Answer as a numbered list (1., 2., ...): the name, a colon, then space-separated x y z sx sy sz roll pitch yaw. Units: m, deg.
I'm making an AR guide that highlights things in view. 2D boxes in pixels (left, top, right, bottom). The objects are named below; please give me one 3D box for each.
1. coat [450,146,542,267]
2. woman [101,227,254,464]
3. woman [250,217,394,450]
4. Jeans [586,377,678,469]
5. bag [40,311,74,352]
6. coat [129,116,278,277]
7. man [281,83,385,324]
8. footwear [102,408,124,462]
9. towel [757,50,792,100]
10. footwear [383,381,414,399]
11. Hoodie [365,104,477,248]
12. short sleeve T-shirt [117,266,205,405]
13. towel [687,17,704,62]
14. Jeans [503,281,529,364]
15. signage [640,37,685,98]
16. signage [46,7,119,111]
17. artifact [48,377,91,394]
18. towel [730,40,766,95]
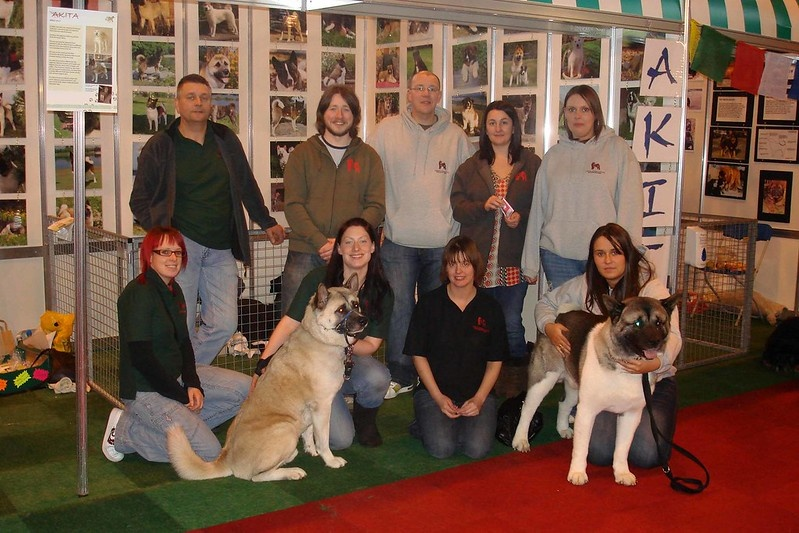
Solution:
1. coat: 0.858 -0.586 6.106 1.276 1.448 0.986 2 6 -1
2. woman: -1.678 0.650 4.825 1.302 1.763 1.167 7 6 30
3. woman: -0.665 0.711 4.943 0.967 1.951 1.255 20 24 38
4. Jeans: 1.893 1.288 4.557 0.457 0.775 0.234 5 2 -8
5. bag: -3.730 0.709 6.367 0.401 0.452 0.269 9 7 -5
6. coat: -1.730 -0.743 5.440 1.381 1.195 0.675 -7 13 -25
7. man: -0.673 -0.342 5.723 0.984 2.769 0.925 5 30 -6
8. footwear: -2.328 1.376 4.759 0.154 0.436 0.171 5 11 -8
9. towel: 4.234 -2.175 6.723 0.418 0.520 0.174 12 4 -9
10. footwear: 0.021 1.257 5.945 0.139 0.144 0.384 0 0 44
11. Hoodie: 0.214 -0.847 5.748 1.686 1.451 0.647 0 4 -13
12. short sleeve T-shirt: -1.945 0.578 4.764 0.655 0.978 0.793 4 0 0
13. towel: 2.963 -2.278 5.858 0.079 0.401 0.331 10 15 37
14. Jeans: 1.220 0.583 6.157 0.240 0.855 0.273 -16 -27 36
15. signage: 2.598 -1.958 5.739 0.016 0.545 0.470 -17 23 -26
16. signage: -2.136 -1.400 3.933 0.469 0.680 0.273 -6 13 -28
17. artifact: -3.487 1.220 5.985 0.289 0.146 0.143 0 12 -2
18. towel: 3.831 -2.195 6.394 0.532 0.519 0.130 -6 14 -30
